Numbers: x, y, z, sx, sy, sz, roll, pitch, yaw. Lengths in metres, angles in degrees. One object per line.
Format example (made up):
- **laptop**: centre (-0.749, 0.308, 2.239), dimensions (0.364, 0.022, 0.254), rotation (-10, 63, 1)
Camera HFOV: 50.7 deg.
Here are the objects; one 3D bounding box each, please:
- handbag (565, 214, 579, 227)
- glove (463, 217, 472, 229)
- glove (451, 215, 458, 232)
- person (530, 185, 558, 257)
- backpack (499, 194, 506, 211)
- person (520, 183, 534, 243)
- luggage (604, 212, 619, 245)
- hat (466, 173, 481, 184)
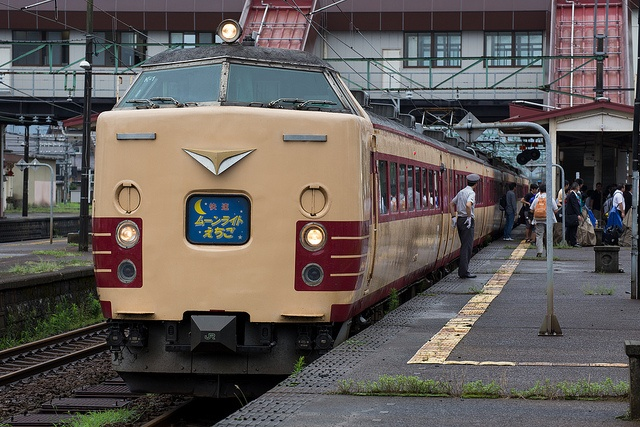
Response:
- **handbag**: centre (8.743, 0.253, 23.563), dimensions (0.581, 0.482, 0.352), rotation (1, 15, 9)
- **glove**: centre (3.169, 0.207, 14.557), dimensions (0.162, 0.246, 0.186), rotation (10, -2, 27)
- **glove**: centre (2.948, 0.200, 14.884), dimensions (0.194, 0.321, 0.107), rotation (3, 1, 1)
- **person**: centre (6.601, 0.212, 20.024), dimensions (0.706, 2.198, 0.702), rotation (-2, 3, -2)
- **backpack**: centre (8.207, -0.488, 30.219), dimensions (0.447, 1.023, 0.702), rotation (1, 3, 14)
- **person**: centre (8.280, -0.026, 26.757), dimensions (0.794, 2.424, 0.634), rotation (8, -9, -41)
- **luggage**: centre (9.865, 0.498, 22.665), dimensions (0.404, 1.134, 0.660), rotation (-6, 7, -16)
- **hat**: centre (3.601, -0.849, 16.026), dimensions (0.531, 0.249, 0.699), rotation (4, 7, 11)
